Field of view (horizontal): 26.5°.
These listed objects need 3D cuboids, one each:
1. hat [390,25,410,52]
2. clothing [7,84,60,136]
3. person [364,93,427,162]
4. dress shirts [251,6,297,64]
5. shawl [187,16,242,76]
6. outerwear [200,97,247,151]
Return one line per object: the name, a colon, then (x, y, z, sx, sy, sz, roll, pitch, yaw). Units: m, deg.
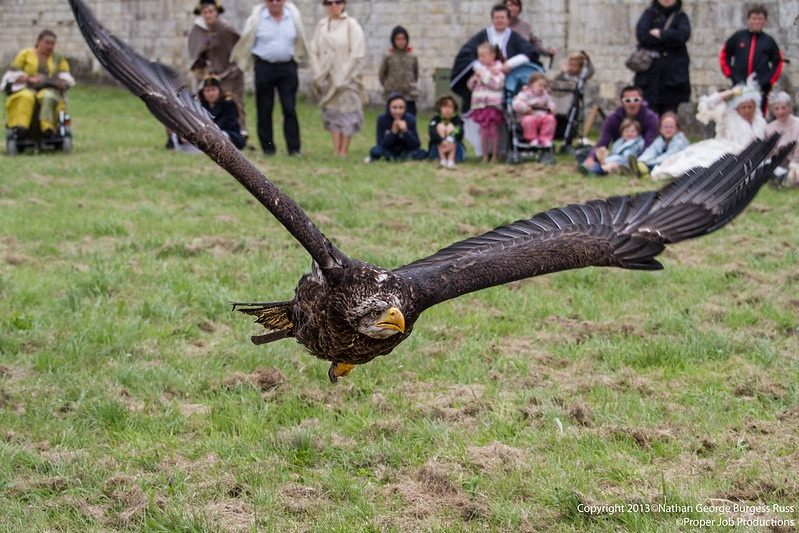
hat: (0.001, -2.429, 18.170, 0.202, 0.243, 0.231, -4, 5, -5)
clothing: (-3.909, -1.691, 18.174, 0.395, 0.195, 0.596, 0, 48, -3)
person: (-0.020, -1.457, 18.734, 0.692, 0.827, 0.530, -8, 36, -10)
dress shirts: (-1.647, -3.082, 22.822, 0.764, 1.039, 0.572, 0, 20, -4)
shawl: (-2.687, -3.153, 24.232, 0.858, 0.910, 0.559, 9, 36, 3)
outerwear: (-2.190, -1.769, 20.883, 0.403, 0.373, 1.033, 11, -8, 35)
